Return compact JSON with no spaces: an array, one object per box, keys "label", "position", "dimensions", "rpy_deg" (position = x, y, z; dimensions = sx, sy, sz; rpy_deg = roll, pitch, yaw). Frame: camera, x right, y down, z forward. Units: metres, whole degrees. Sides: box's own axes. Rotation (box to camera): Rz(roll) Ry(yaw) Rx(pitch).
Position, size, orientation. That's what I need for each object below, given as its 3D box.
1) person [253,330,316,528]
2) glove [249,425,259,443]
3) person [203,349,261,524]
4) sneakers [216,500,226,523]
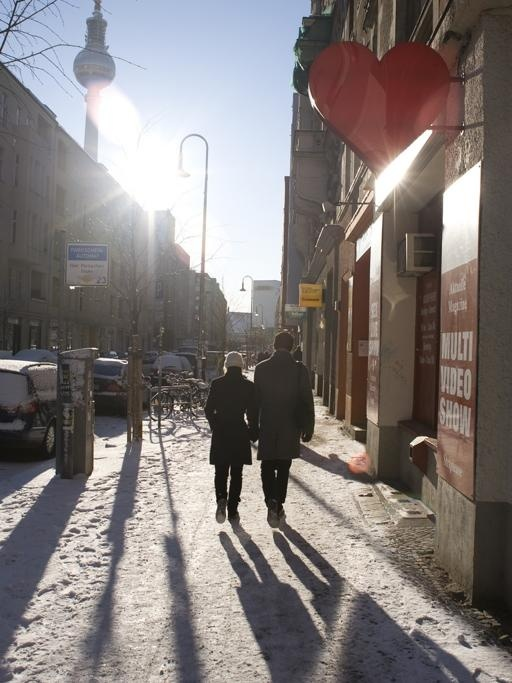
[{"label":"person","position":[0.262,0.810,5.416],"dimensions":[0.557,1.813,0.573],"rpy_deg":[0,-1,-13]},{"label":"glove","position":[-0.014,0.904,5.520],"dimensions":[0.093,0.284,0.121],"rpy_deg":[2,1,1]},{"label":"person","position":[-0.263,0.847,5.699],"dimensions":[0.412,1.987,0.495],"rpy_deg":[1,29,-5]},{"label":"sneakers","position":[-0.327,1.576,5.226],"dimensions":[0.072,0.208,0.062],"rpy_deg":[2,-12,11]}]
